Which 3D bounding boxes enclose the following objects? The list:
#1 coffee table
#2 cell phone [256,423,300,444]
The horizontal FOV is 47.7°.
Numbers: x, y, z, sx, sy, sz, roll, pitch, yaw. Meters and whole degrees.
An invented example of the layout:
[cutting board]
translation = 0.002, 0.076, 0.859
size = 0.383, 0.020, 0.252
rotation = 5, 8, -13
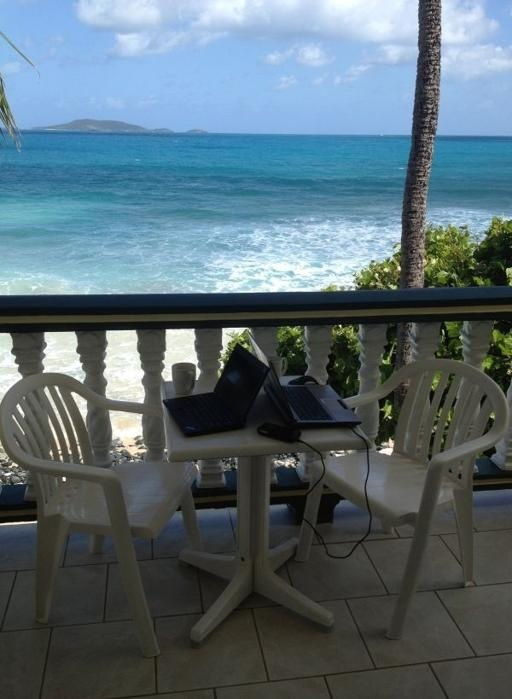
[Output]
[coffee table]
translation = -0.007, 0.568, 1.970
size = 0.685, 0.573, 0.647
rotation = 10, 16, 24
[cell phone]
translation = 0.067, 0.228, 1.615
size = 0.078, 0.017, 0.055
rotation = 11, 18, 18
